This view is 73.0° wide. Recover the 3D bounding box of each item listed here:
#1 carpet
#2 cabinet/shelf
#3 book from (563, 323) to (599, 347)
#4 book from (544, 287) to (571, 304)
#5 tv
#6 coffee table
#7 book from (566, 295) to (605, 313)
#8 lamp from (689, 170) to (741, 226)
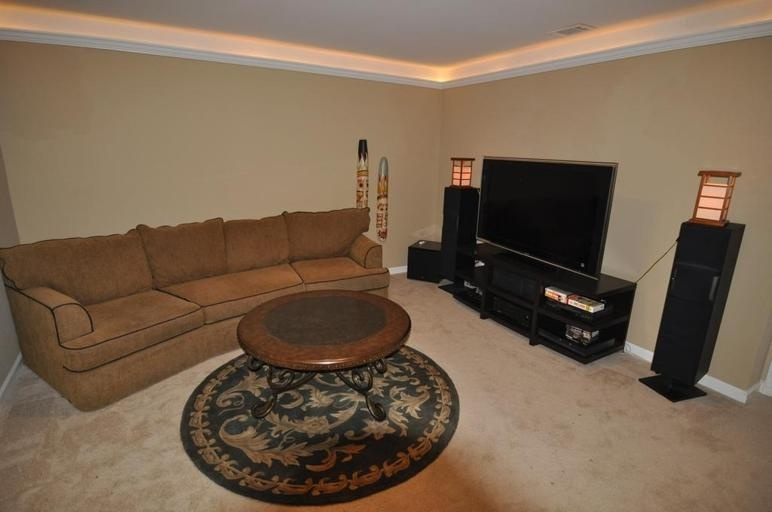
[{"bbox_3d":[-0.536,1.465,4.513,2.414,0.431,1.391,-3,17,-8],"label":"carpet"},{"bbox_3d":[1.723,0.516,5.433,0.350,0.509,1.133,-5,24,-37],"label":"cabinet/shelf"},{"bbox_3d":[1.962,0.705,5.245,0.218,0.206,0.304,-23,32,-39],"label":"book"},{"bbox_3d":[1.736,0.388,5.306,0.147,0.113,0.252,-17,22,-36],"label":"book"},{"bbox_3d":[1.747,-0.403,5.485,0.133,0.923,1.295,-12,20,-40],"label":"tv"},{"bbox_3d":[-0.587,0.659,4.529,1.176,0.537,1.178,12,26,26],"label":"coffee table"},{"bbox_3d":[1.976,0.478,5.163,0.347,0.132,0.149,6,19,20],"label":"book"},{"bbox_3d":[2.936,-0.545,4.660,0.301,0.446,0.386,10,21,29],"label":"lamp"}]
